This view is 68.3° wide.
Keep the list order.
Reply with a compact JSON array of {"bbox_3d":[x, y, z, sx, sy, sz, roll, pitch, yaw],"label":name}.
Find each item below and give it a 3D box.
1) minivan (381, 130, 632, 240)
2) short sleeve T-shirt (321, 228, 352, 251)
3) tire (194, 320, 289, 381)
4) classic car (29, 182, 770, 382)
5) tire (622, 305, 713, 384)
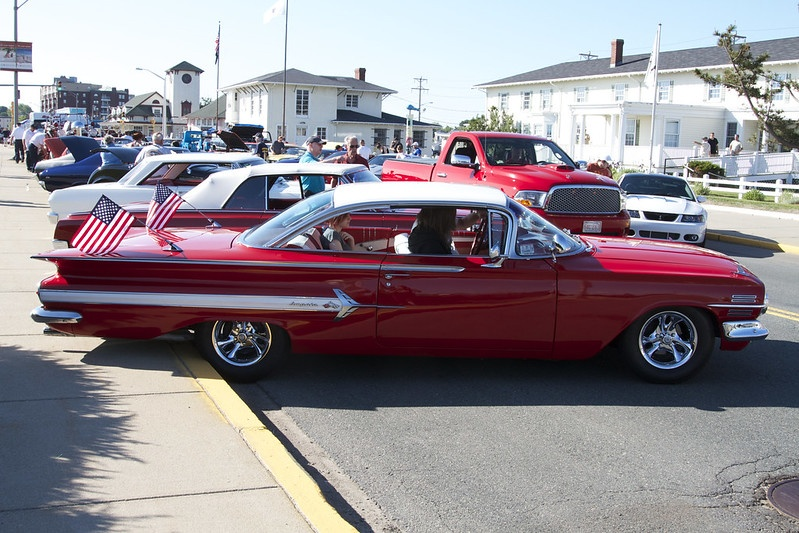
[{"bbox_3d":[2.351,-1.910,12.783,2.695,1.676,4.968,-4,10,-35],"label":"minivan"},{"bbox_3d":[-0.678,-0.286,6.452,0.263,0.348,0.401,-8,15,-2],"label":"short sleeve T-shirt"},{"bbox_3d":[-1.626,0.850,6.049,0.840,0.666,0.268,-1,1,-3],"label":"tire"},{"bbox_3d":[0.093,0.143,6.649,7.041,1.485,2.805,-1,14,-3],"label":"classic car"},{"bbox_3d":[2.809,0.795,6.213,1.069,0.848,0.354,-2,3,-2],"label":"tire"}]
